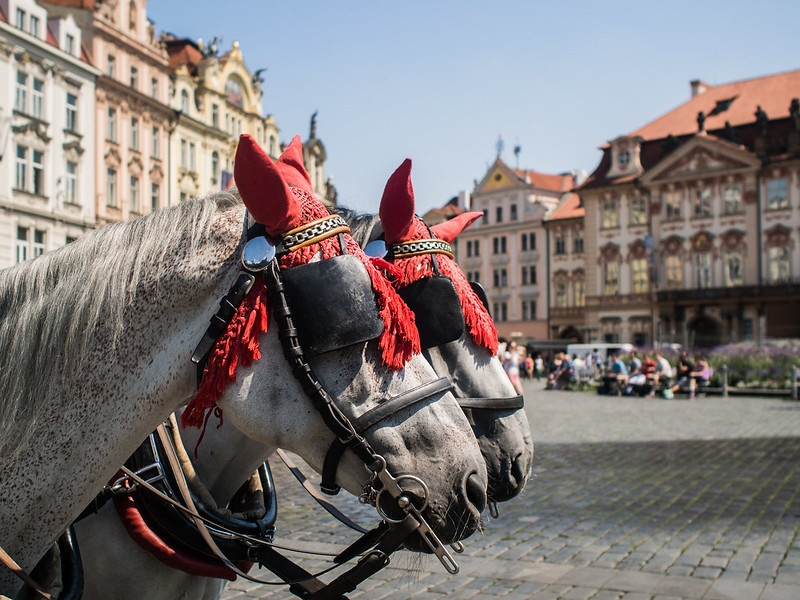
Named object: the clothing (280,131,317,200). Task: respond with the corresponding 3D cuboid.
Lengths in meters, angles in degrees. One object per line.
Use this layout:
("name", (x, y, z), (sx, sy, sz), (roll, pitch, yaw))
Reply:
("clothing", (-1.092, -1.536, 14.754), (0.165, 0.426, 0.571), (-11, -6, -15))

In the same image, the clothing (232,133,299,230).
("clothing", (-1.376, -1.176, 14.210), (0.561, 0.938, 0.225), (-8, 10, 18))

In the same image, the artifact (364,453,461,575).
("artifact", (0.146, 2.133, 14.118), (0.594, 1.479, 0.222), (-40, -1, 2))

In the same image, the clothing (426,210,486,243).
("clothing", (0.637, -0.816, 16.523), (0.486, 0.313, 0.457), (-1, -1, 36))
